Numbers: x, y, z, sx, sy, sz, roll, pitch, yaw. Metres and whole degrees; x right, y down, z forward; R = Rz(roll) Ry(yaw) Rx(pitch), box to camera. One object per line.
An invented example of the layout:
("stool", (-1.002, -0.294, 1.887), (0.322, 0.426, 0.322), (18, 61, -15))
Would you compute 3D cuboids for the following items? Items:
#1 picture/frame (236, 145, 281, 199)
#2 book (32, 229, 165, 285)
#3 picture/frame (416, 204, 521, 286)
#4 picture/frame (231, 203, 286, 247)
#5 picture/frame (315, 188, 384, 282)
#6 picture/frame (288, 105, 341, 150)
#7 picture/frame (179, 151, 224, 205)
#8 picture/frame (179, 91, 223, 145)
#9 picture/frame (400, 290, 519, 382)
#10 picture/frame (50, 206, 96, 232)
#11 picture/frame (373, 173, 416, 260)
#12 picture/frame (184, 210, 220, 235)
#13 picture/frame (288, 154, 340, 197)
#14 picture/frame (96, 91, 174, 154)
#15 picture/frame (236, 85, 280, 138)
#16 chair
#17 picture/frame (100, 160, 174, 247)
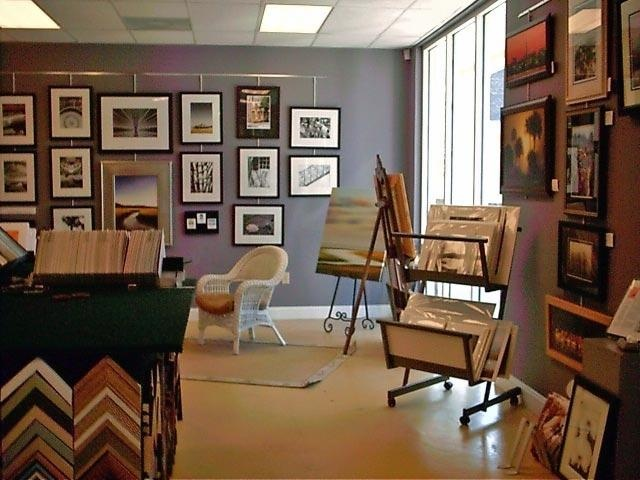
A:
("picture/frame", (-0.789, -0.856, 6.654), (0.575, 0.759, 0.049), (-1, 4, -4))
("book", (-1.179, 0.097, 2.873), (0.428, 0.166, 0.365), (1, -3, -4))
("picture/frame", (1.064, 0.038, 4.034), (0.712, 0.580, 0.527), (5, 9, 26))
("picture/frame", (-0.798, -0.202, 6.683), (0.467, 0.410, 0.020), (0, 3, -2))
("picture/frame", (0.335, -0.079, 5.941), (0.935, 1.178, 0.057), (7, -11, 18))
("picture/frame", (-0.107, -1.404, 6.689), (0.489, 0.429, 0.023), (0, 3, -2))
("picture/frame", (-1.470, -0.782, 6.583), (0.572, 0.771, 0.055), (0, 4, -4))
("picture/frame", (-1.460, -1.492, 6.534), (0.561, 0.732, 0.046), (-1, 4, -3))
("picture/frame", (1.088, 0.652, 3.973), (0.827, 0.595, 0.263), (11, -19, 20))
("picture/frame", (-2.866, -0.253, 6.233), (0.305, 0.235, 0.013), (-1, -1, -7))
("picture/frame", (0.629, -0.190, 4.787), (0.161, 0.889, 0.935), (-13, -2, 7))
("picture/frame", (-1.458, -0.231, 6.631), (0.422, 0.281, 0.095), (-2, 8, -16))
("picture/frame", (-0.110, -0.810, 6.714), (0.507, 0.445, 0.026), (-1, 3, -5))
("picture/frame", (-2.250, -1.430, 6.476), (0.658, 0.581, 0.035), (-1, 4, -1))
("picture/frame", (-0.787, -1.591, 6.606), (0.572, 0.745, 0.049), (-1, 7, -5))
("chair", (-0.825, 0.523, 5.871), (0.999, 1.300, 1.011), (2, -1, -44))
("picture/frame", (-2.003, -0.462, 5.829), (0.905, 1.190, 0.075), (1, 1, -7))
